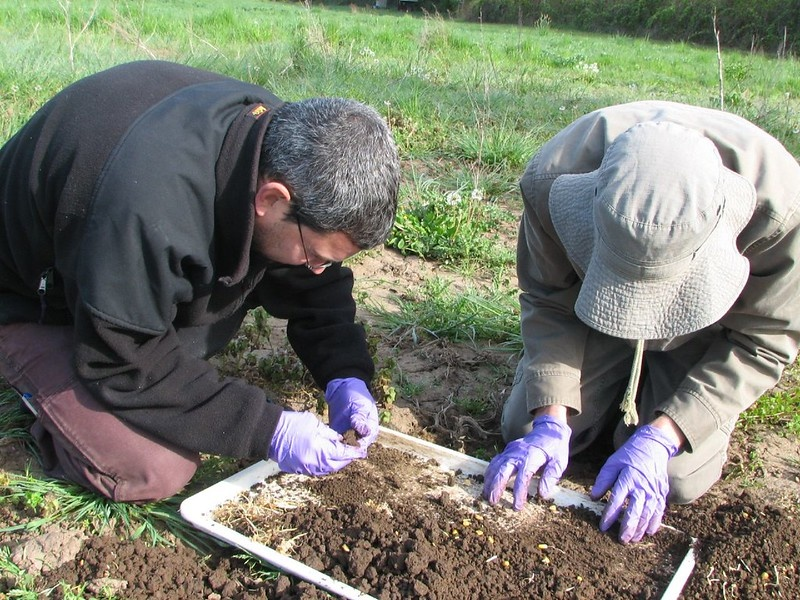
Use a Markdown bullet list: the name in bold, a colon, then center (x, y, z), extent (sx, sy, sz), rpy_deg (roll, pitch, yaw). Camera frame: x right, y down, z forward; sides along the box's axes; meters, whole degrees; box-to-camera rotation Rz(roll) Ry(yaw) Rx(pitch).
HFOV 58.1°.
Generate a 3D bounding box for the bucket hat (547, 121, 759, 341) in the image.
- **bucket hat**: center (1.132, -0.280, 3.040), extent (0.703, 0.808, 0.386), rpy_deg (3, 26, -2)

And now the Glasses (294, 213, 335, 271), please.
- **Glasses**: center (-0.365, -0.229, 3.138), extent (0.047, 0.185, 0.164), rpy_deg (-3, 0, 14)

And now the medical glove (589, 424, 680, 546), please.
- **medical glove**: center (1.123, 0.843, 3.371), extent (0.471, 0.390, 0.312), rpy_deg (-13, 32, -30)

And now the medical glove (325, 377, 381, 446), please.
- **medical glove**: center (-0.223, 0.545, 3.575), extent (0.131, 0.339, 0.231), rpy_deg (-10, 6, -41)
